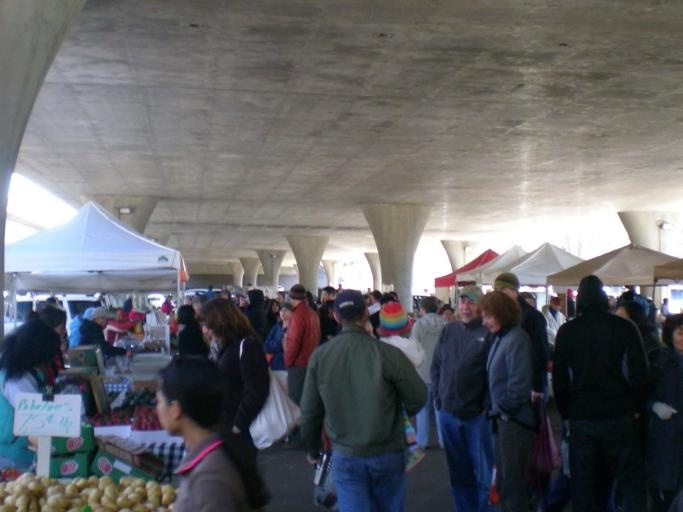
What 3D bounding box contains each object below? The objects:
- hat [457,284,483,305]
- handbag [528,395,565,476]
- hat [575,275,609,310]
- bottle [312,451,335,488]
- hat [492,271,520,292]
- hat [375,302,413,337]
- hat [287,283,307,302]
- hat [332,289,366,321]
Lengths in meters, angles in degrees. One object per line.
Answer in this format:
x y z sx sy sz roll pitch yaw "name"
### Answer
1.401 0.414 6.379 0.173 0.127 0.254 -3 -17 25 "hat"
2.116 1.931 6.261 0.260 0.827 0.614 -7 -7 34 "handbag"
2.392 0.363 5.726 0.270 0.353 0.246 -5 -6 16 "hat"
-0.136 1.739 4.866 0.101 0.289 0.372 -1 -7 -19 "bottle"
1.805 0.278 6.502 0.261 0.194 0.257 5 -21 10 "hat"
0.544 0.657 6.251 0.279 0.364 0.509 -3 -6 4 "hat"
-0.685 0.564 9.156 0.223 0.237 0.278 3 -11 -14 "hat"
0.069 0.377 4.900 0.316 0.222 0.491 0 23 3 "hat"
